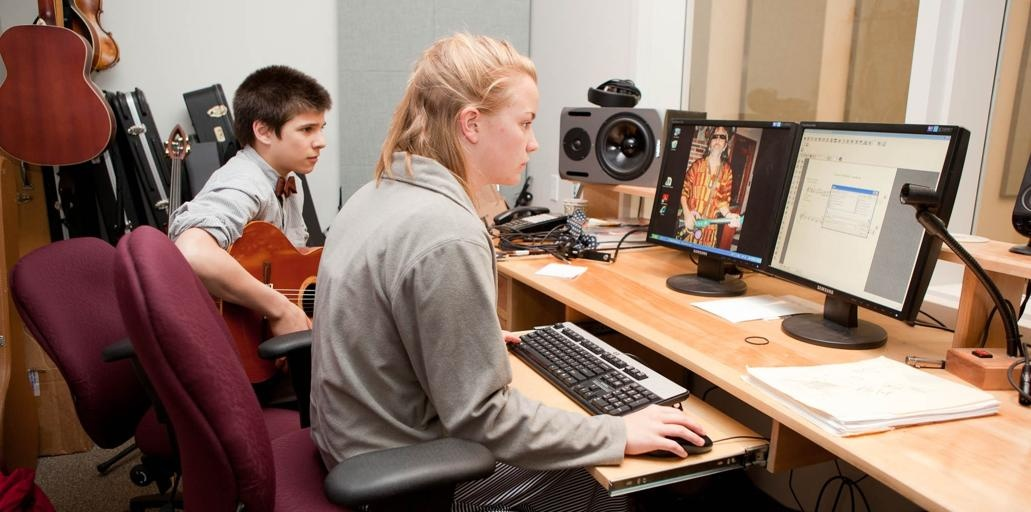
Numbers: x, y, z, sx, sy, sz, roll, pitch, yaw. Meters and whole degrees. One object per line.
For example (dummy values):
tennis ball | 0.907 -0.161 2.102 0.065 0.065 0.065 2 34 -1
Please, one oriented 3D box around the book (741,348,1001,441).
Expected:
book | 1.361 0.515 2.341 0.444 0.051 0.418 -8 17 -18

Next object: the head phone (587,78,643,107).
head phone | 0.582 -0.930 3.612 0.257 0.109 0.206 5 9 -32

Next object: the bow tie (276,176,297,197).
bow tie | -1.307 -0.391 3.515 0.035 0.098 0.136 15 18 23

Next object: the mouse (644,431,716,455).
mouse | 0.635 0.698 2.302 0.180 0.047 0.092 -5 7 -10
